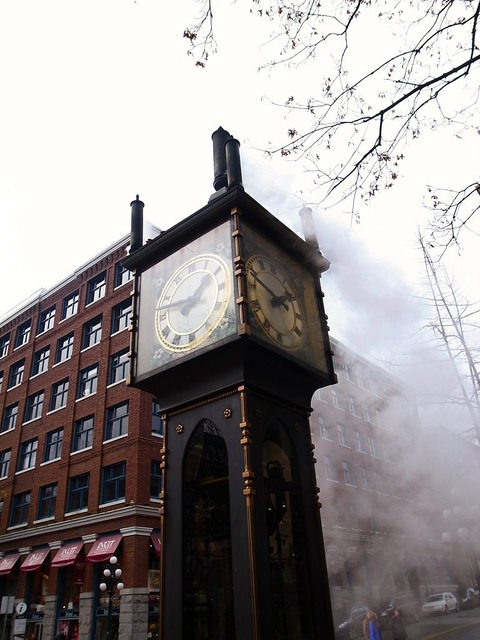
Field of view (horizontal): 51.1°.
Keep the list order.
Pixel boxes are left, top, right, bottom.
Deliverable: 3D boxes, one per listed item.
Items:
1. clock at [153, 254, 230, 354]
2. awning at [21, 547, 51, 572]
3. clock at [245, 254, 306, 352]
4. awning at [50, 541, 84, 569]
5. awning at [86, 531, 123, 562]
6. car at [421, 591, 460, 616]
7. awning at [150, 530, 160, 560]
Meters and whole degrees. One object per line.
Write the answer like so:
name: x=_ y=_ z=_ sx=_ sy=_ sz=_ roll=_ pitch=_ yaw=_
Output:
clock: x=-0.640 y=-0.235 z=6.557 sx=0.086 sy=1.241 sz=1.216 roll=15 pitch=3 yaw=30
awning: x=-11.017 y=12.821 z=27.015 sx=0.750 sy=1.112 sz=2.128 roll=22 pitch=-43 yaw=-37
clock: x=0.497 y=-0.213 z=6.507 sx=0.067 sy=1.313 sz=1.286 roll=-24 pitch=-26 yaw=35
awning: x=-8.623 y=11.722 z=25.192 sx=0.701 sy=1.286 sz=2.300 roll=22 pitch=-43 yaw=-37
awning: x=-6.288 y=10.507 z=23.464 sx=2.065 sy=1.301 sz=0.719 roll=-32 pitch=-40 yaw=33
car: x=14.888 y=21.178 z=37.376 sx=1.396 sy=1.217 sz=3.074 roll=-30 pitch=-53 yaw=27
awning: x=-3.992 y=10.507 z=23.661 sx=0.368 sy=1.133 sz=0.965 roll=-3 pitch=-33 yaw=-5
